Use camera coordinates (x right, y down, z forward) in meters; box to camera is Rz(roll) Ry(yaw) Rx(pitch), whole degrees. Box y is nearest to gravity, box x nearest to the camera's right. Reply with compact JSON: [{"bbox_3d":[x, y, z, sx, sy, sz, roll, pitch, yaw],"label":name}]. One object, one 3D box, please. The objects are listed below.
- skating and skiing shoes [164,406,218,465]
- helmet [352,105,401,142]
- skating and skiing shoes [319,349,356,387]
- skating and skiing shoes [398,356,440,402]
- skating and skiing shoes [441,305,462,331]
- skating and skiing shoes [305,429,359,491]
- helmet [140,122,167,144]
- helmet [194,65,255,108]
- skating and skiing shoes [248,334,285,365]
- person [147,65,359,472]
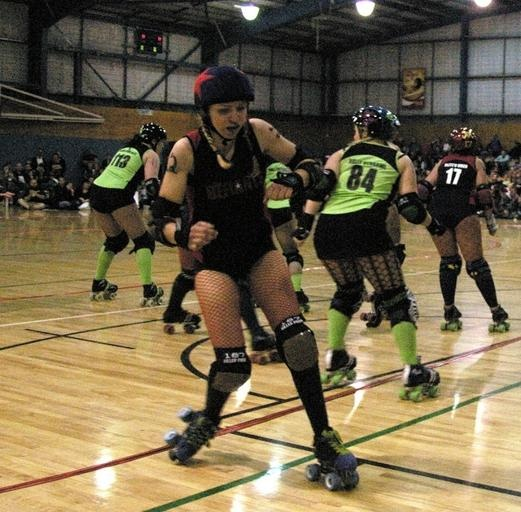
[{"bbox_3d":[-0.296,0.721,2.101,0.229,0.116,0.241,-16,39,-4],"label":"skating and skiing shoes"},{"bbox_3d":[0.771,-0.850,3.288,0.315,0.231,0.247,5,23,37],"label":"helmet"},{"bbox_3d":[0.539,0.735,3.459,0.159,0.233,0.429,6,2,32],"label":"skating and skiing shoes"},{"bbox_3d":[0.967,0.751,3.036,0.229,0.238,0.113,0,2,-39],"label":"skating and skiing shoes"},{"bbox_3d":[1.952,0.644,5.117,0.338,0.234,0.158,0,-8,10],"label":"skating and skiing shoes"},{"bbox_3d":[0.264,0.737,1.815,0.122,0.192,0.171,0,2,-43],"label":"skating and skiing shoes"},{"bbox_3d":[-1.303,-1.514,6.144,0.397,0.270,0.280,-6,10,-28],"label":"helmet"},{"bbox_3d":[-0.152,-0.607,1.801,0.217,0.130,0.171,13,15,23],"label":"helmet"},{"bbox_3d":[0.007,0.741,4.136,0.222,0.191,0.586,-2,3,-10],"label":"skating and skiing shoes"},{"bbox_3d":[-0.051,0.079,1.904,0.716,1.539,0.473,1,2,-10],"label":"person"}]
